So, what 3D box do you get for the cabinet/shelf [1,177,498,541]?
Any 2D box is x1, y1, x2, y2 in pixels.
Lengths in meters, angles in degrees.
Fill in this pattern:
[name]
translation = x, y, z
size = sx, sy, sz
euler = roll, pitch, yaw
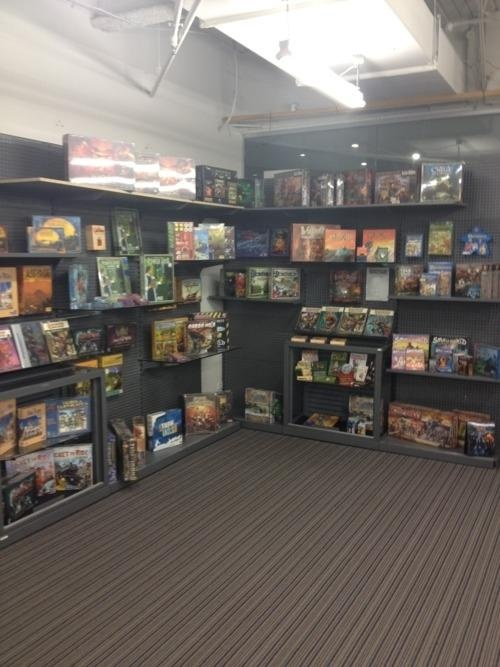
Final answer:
[cabinet/shelf]
translation = -0.050, 0.187, 3.559
size = 2.627, 1.617, 2.614
euler = 4, 6, 35
